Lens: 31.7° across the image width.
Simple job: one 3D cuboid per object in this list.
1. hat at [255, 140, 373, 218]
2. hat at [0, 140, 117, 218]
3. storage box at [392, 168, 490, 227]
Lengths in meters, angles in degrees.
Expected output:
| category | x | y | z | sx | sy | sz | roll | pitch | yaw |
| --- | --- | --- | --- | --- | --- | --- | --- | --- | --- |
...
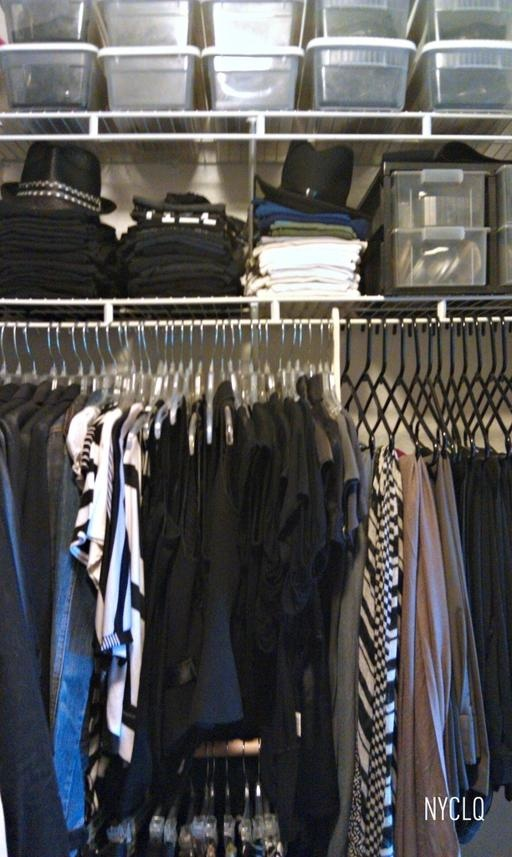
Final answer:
| category | x | y | z | sx | sy | sz | roll | pitch | yaw |
| --- | --- | --- | --- | --- | --- | --- | --- | --- | --- |
| hat | 0.111 | -0.579 | 2.088 | 0.234 | 0.202 | 0.136 | 0 | -3 | -6 |
| hat | -0.458 | -0.583 | 2.115 | 0.140 | 0.124 | 0.229 | 12 | -1 | -7 |
| storage box | 0.395 | -0.501 | 1.986 | 0.109 | 0.132 | 0.152 | 0 | 0 | 1 |
